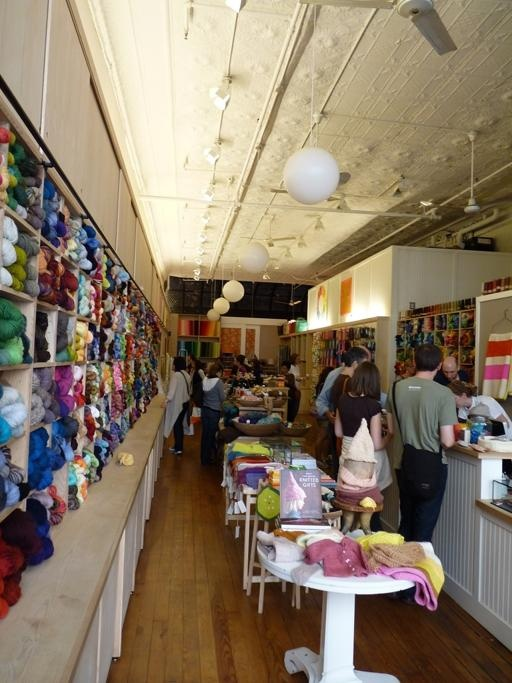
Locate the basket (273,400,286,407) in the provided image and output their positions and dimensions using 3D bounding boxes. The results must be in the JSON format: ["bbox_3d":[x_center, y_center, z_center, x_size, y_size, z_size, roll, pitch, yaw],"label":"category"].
[{"bbox_3d":[0.312,0.947,6.735,0.137,0.097,0.205,2,3,-13],"label":"basket"}]

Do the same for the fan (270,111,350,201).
[{"bbox_3d":[0.393,-1.247,3.264,0.376,0.435,0.261,2,-6,6],"label":"fan"}]

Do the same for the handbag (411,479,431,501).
[{"bbox_3d":[1.157,1.051,3.134,0.131,0.141,0.097,-3,-8,42],"label":"handbag"}]

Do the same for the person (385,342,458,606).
[{"bbox_3d":[1.179,0.761,3.249,0.288,1.449,0.565,6,-7,-31],"label":"person"}]
